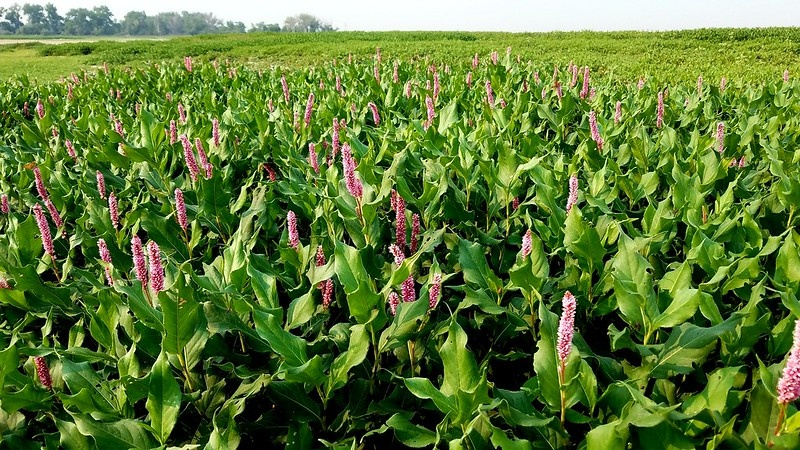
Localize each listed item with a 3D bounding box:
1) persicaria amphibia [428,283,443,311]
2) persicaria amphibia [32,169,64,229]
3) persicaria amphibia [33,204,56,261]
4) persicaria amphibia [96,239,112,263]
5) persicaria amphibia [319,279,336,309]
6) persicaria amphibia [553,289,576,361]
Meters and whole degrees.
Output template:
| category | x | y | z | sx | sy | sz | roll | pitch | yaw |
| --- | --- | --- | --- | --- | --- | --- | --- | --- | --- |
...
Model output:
| category | x | y | z | sx | sy | sz | roll | pitch | yaw |
| --- | --- | --- | --- | --- | --- | --- | --- | --- | --- |
| persicaria amphibia | 0.271 | 0.559 | 4.591 | 0.116 | 0.288 | 0.116 | -38 | 65 | -21 |
| persicaria amphibia | -3.434 | -0.246 | 5.748 | 0.126 | 0.661 | 0.103 | -25 | -19 | 15 |
| persicaria amphibia | -3.258 | 0.084 | 5.380 | 0.125 | 0.535 | 0.133 | 2 | 18 | 45 |
| persicaria amphibia | -2.447 | 0.200 | 4.858 | 0.064 | 0.200 | 0.148 | -16 | 24 | -30 |
| persicaria amphibia | -0.609 | 0.572 | 4.982 | 0.118 | 0.262 | 0.159 | -6 | 21 | -9 |
| persicaria amphibia | 1.147 | 0.717 | 4.090 | 0.150 | 0.521 | 0.179 | -2 | 4 | -17 |
